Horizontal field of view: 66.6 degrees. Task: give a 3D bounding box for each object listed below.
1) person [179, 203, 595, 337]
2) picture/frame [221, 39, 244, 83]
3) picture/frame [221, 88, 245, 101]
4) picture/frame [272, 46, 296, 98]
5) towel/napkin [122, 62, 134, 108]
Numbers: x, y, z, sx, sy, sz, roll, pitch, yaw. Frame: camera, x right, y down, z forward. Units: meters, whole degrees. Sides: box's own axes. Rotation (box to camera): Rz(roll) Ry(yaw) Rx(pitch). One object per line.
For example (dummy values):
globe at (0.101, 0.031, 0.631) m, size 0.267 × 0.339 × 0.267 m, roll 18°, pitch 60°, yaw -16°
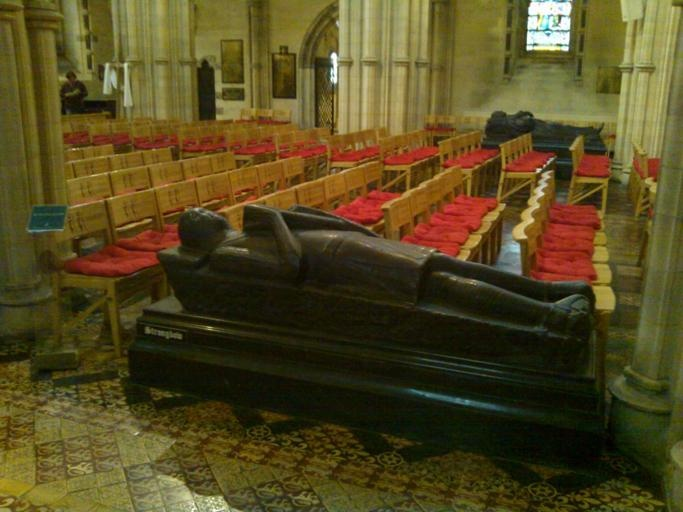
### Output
person at (-0.042, 0.098, 3.577) m, size 3.158 × 0.708 × 0.893 m, roll 5°, pitch 27°, yaw 15°
picture/frame at (-4.812, -8.474, 22.764) m, size 0.068 × 1.828 × 1.292 m, roll 27°, pitch 35°, yaw 31°
picture/frame at (-4.716, -7.121, 22.813) m, size 0.873 × 0.376 × 0.079 m, roll 2°, pitch 11°, yaw 10°
picture/frame at (-2.477, -7.946, 22.517) m, size 1.553 × 2.126 × 0.086 m, roll 20°, pitch 29°, yaw 37°
towel/napkin at (-6.495, -5.185, 15.717) m, size 0.331 × 1.321 × 0.800 m, roll -7°, pitch 19°, yaw -19°
